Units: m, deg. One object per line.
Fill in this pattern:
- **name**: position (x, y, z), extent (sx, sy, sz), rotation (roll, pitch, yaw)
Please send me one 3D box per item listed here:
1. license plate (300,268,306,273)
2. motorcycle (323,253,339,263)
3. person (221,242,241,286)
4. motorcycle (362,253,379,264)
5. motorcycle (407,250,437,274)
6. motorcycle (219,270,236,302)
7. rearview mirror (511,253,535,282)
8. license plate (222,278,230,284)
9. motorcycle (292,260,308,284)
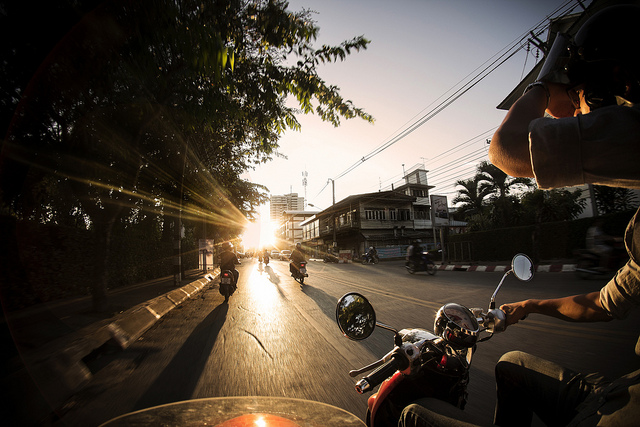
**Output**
- **license plate**: position (-0.687, 2.233, 13.793), extent (0.150, 0.165, 0.044), rotation (3, -8, 0)
- **motorcycle**: position (1.040, 4.823, 37.252), extent (0.670, 0.850, 1.567), rotation (0, -8, -16)
- **person**: position (-2.905, 1.463, 11.245), extent (0.604, 0.792, 1.141), rotation (-1, 1, -8)
- **motorcycle**: position (4.228, 3.808, 29.585), extent (1.218, 0.900, 0.678), rotation (1, -13, 9)
- **motorcycle**: position (4.808, 2.277, 16.285), extent (0.754, 1.032, 1.552), rotation (3, -15, -27)
- **motorcycle**: position (-2.794, 2.126, 10.544), extent (0.306, 0.877, 1.042), rotation (-2, -2, -9)
- **rearview mirror**: position (2.031, 0.540, 3.490), extent (0.229, 0.255, 0.016), rotation (13, -18, 3)
- **license plate**: position (-2.724, 1.943, 10.090), extent (0.208, 0.164, 0.083), rotation (-3, -2, 0)
- **motorcycle**: position (-0.799, 2.327, 14.166), extent (0.414, 0.930, 0.866), rotation (-1, -2, -25)
